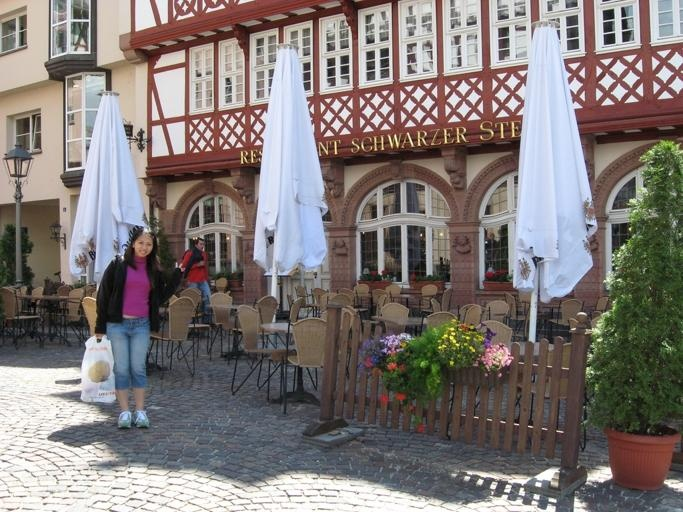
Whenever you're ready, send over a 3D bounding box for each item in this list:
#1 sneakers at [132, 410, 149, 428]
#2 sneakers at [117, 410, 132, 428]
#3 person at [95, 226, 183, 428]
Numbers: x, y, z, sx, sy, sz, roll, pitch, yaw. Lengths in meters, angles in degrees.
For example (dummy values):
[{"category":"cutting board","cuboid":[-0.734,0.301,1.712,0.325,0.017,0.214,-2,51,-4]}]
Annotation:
[{"category":"sneakers","cuboid":[-2.521,2.037,10.517,0.217,0.188,0.123,3,8,17]},{"category":"sneakers","cuboid":[-2.740,2.029,10.540,0.174,0.200,0.227,-2,9,-16]},{"category":"person","cuboid":[-2.617,0.896,10.634,0.994,2.451,0.638,-3,8,-20]}]
